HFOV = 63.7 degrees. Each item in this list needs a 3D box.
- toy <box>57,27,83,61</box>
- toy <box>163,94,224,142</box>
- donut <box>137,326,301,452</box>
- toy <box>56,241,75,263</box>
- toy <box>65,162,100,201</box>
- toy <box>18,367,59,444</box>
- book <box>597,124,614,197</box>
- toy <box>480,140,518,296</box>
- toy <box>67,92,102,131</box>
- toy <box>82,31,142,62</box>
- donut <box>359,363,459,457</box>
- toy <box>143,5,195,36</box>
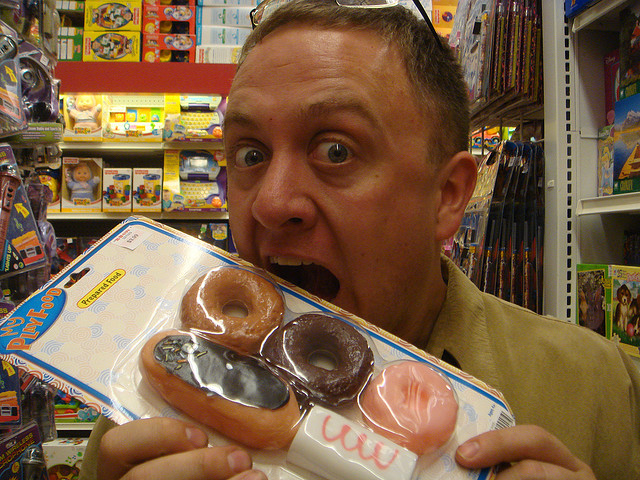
[{"bbox_3d":[-2.053,-1.631,4.293,0.230,0.271,0.175,12,8,33],"label":"toy"},{"bbox_3d":[-0.988,-0.945,3.995,0.446,0.375,0.163,1,5,-17],"label":"toy"},{"bbox_3d":[-0.277,0.428,1.440,0.460,0.232,0.154,31,-34,6],"label":"donut"},{"bbox_3d":[-1.835,0.086,3.690,0.101,0.159,0.073,-14,32,-18],"label":"toy"},{"bbox_3d":[-1.861,-0.419,4.006,0.259,0.441,0.161,4,-27,-39],"label":"toy"},{"bbox_3d":[-1.266,0.713,2.363,0.126,0.414,0.135,-2,6,-18],"label":"toy"},{"bbox_3d":[1.336,-0.377,2.405,0.227,0.338,0.032,-14,13,-41],"label":"book"},{"bbox_3d":[0.882,-0.100,2.613,0.096,0.950,0.129,7,2,6],"label":"toy"},{"bbox_3d":[-1.814,-0.962,3.964,0.266,0.383,0.132,-1,-22,-28],"label":"toy"},{"bbox_3d":[-1.704,-1.581,4.189,0.494,0.255,0.156,4,6,9],"label":"toy"},{"bbox_3d":[0.248,0.445,1.392,0.256,0.075,0.283,-11,32,-27],"label":"donut"},{"bbox_3d":[-1.244,-1.831,4.238,0.409,0.310,0.246,1,10,1],"label":"toy"}]
